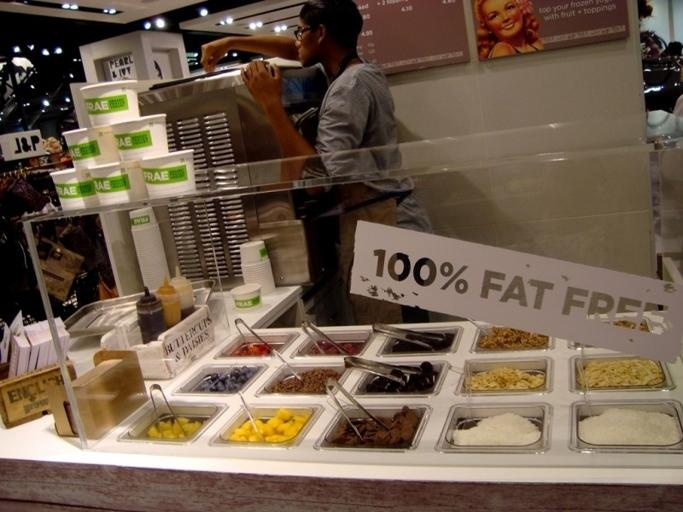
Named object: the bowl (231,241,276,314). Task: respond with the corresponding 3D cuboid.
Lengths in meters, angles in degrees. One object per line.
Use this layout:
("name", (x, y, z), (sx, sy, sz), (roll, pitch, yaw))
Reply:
("bowl", (-0.256, 0.066, 1.523), (0.129, 0.201, 0.209), (-3, 9, -1))
